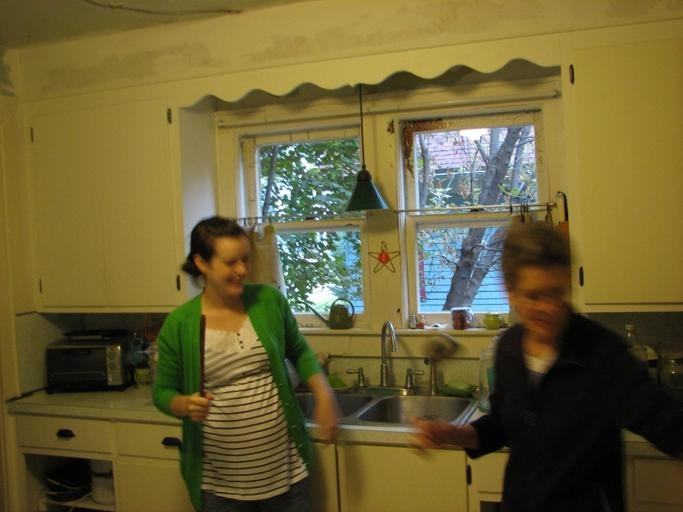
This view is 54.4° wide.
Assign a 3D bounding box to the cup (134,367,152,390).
[{"bbox_3d":[-1.095,0.677,3.660,0.098,0.107,0.097,0,-7,0],"label":"cup"}]

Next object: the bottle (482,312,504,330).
[{"bbox_3d":[0.789,0.338,3.444,0.084,0.063,0.087,-1,-5,0],"label":"bottle"}]

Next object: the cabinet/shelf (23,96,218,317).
[{"bbox_3d":[-1.156,-0.266,3.501,1.072,1.332,0.641,-2,-4,12],"label":"cabinet/shelf"}]

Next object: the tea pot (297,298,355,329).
[{"bbox_3d":[-0.083,0.326,3.643,0.293,0.201,0.107,-1,-3,10],"label":"tea pot"}]

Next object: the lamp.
[{"bbox_3d":[0.144,-0.570,3.519,0.207,0.677,0.354,-1,5,7],"label":"lamp"}]

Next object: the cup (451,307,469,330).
[{"bbox_3d":[0.626,0.329,3.520,0.080,0.099,0.103,0,-5,4],"label":"cup"}]

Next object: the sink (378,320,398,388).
[{"bbox_3d":[0.248,0.513,3.449,0.095,0.368,0.305,-1,5,4],"label":"sink"}]

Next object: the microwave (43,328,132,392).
[{"bbox_3d":[-1.382,0.588,3.646,0.427,0.345,0.320,0,-10,-4],"label":"microwave"}]

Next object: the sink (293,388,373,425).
[{"bbox_3d":[-0.026,0.695,3.053,0.311,0.162,0.400,0,0,4],"label":"sink"}]

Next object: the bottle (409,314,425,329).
[{"bbox_3d":[0.404,0.356,3.596,0.068,0.070,0.069,0,-5,1],"label":"bottle"}]
